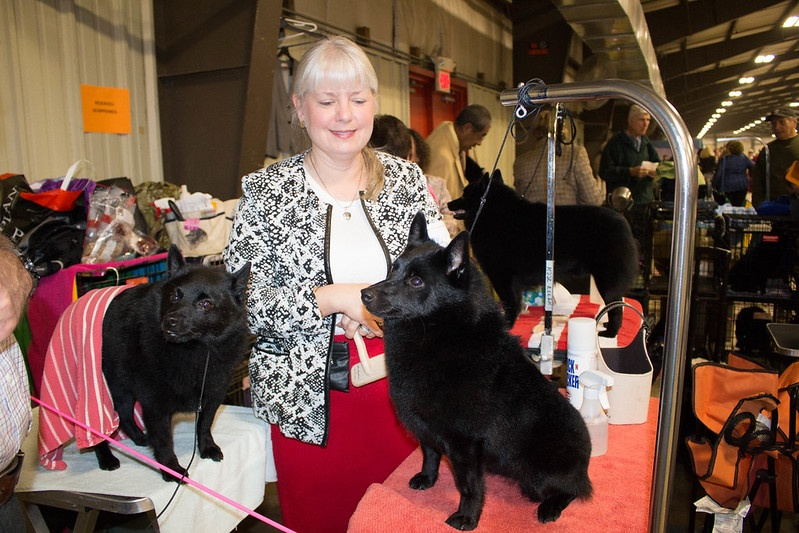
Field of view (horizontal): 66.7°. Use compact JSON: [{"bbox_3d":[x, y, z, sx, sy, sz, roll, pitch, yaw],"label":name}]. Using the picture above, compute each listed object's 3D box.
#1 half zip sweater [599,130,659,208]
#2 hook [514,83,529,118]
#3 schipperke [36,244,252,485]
[{"bbox_3d":[2.226,-0.987,5.879,0.455,0.908,0.458,-6,17,-23],"label":"half zip sweater"},{"bbox_3d":[0.529,-0.737,2.655,0.034,0.126,0.088,4,12,14],"label":"hook"},{"bbox_3d":[-1.305,0.483,3.222,1.160,1.170,0.339,0,5,10],"label":"schipperke"}]
